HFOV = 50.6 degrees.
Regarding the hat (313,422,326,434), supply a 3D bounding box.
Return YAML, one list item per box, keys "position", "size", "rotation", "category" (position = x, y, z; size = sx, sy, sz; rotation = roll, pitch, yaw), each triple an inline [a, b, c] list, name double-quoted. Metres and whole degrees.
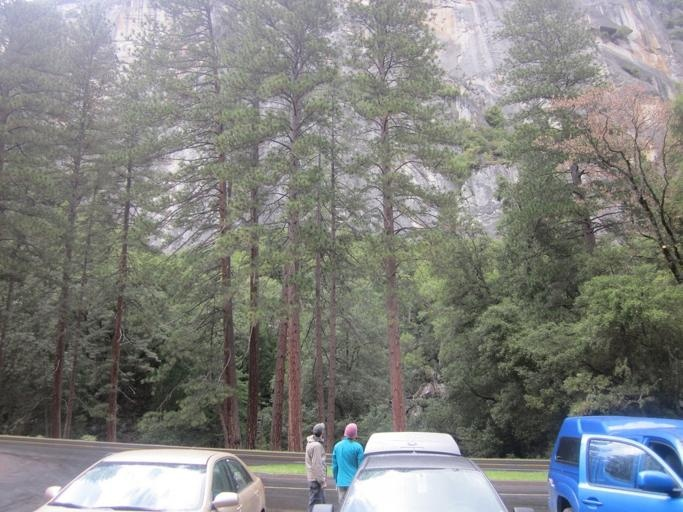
- position: [-0.729, 5.686, 24.208]
  size: [0.302, 0.496, 0.274]
  rotation: [2, -50, 14]
  category: "hat"
